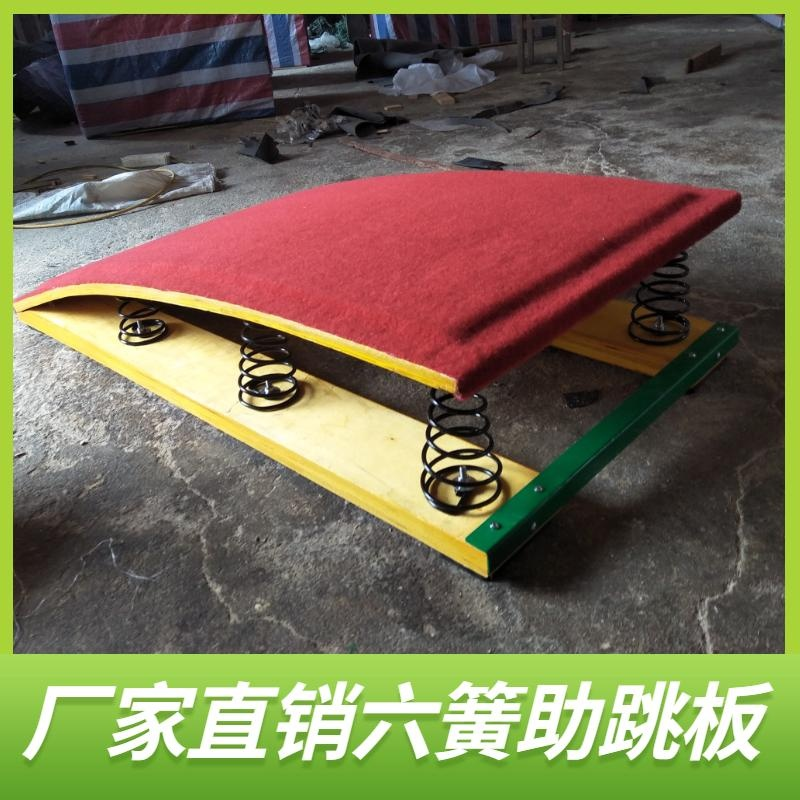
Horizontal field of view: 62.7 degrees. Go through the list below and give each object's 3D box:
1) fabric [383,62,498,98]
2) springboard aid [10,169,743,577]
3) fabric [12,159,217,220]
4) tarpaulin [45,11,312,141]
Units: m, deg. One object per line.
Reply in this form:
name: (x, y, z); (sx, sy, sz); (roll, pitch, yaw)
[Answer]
fabric: (0.439, -3.235, 6.589); (1.046, 0.336, 0.731); (-6, 25, 5)
springboard aid: (-0.106, -0.376, 1.858); (1.770, 0.378, 1.253); (21, 46, 29)
fabric: (-1.555, -1.185, 3.874); (1.178, 0.133, 0.570); (-16, 35, -21)
tarpaulin: (-1.542, -3.120, 6.499); (2.783, 1.020, 2.317); (-2, 16, 1)
